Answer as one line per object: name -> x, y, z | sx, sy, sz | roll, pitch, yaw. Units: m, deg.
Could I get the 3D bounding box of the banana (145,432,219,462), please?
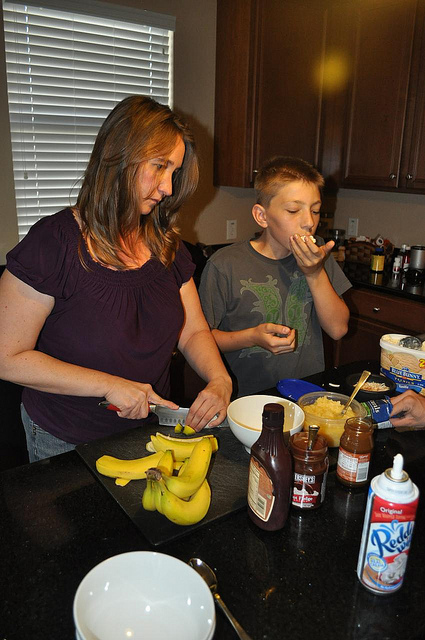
banana -> -0.066, 0.250, 0.988 | 0.130, 0.047, 0.065 | 5, -2, -7

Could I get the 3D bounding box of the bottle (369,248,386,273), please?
bottle -> 1.056, -0.379, 3.048 | 0.089, 0.145, 0.142 | 6, 14, 19

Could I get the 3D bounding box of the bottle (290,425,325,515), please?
bottle -> 0.165, 0.275, 0.816 | 0.055, 0.136, 0.050 | 1, 13, 0

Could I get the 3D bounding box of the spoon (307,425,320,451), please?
spoon -> 0.169, 0.193, 0.806 | 0.015, 0.037, 0.056 | 4, 14, 12

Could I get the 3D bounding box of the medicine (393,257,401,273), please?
medicine -> 1.131, -0.334, 2.920 | 0.036, 0.092, 0.069 | 5, 14, 18

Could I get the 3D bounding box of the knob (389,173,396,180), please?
knob -> 1.070, -0.845, 2.833 | 0.010, 0.032, 0.040 | -11, 18, -41

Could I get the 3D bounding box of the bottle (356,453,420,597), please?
bottle -> 0.230, 0.272, 0.617 | 0.079, 0.202, 0.087 | 1, 11, 0

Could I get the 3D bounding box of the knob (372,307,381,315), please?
knob -> 0.944, -0.049, 2.748 | 0.027, 0.038, 0.034 | -5, 14, -40

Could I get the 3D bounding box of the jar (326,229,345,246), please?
jar -> 0.881, -0.579, 3.425 | 0.122, 0.135, 0.124 | -1, 4, 0

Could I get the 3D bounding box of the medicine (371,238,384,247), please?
medicine -> 1.092, -0.506, 3.153 | 0.063, 0.038, 0.087 | 1, 8, 3

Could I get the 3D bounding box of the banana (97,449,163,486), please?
banana -> -0.165, 0.288, 0.932 | 0.083, 0.036, 0.058 | 9, 11, -21

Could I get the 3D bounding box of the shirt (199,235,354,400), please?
shirt -> 0.229, 0.008, 1.723 | 0.568, 0.563, 0.302 | -6, 15, -26

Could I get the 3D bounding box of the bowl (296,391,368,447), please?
bowl -> 0.261, 0.211, 1.113 | 0.126, 0.056, 0.140 | 8, 11, 21

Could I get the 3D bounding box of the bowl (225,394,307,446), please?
bowl -> 0.100, 0.216, 1.014 | 0.149, 0.076, 0.152 | -14, -3, -1

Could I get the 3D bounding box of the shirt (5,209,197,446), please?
shirt -> -0.243, 0.016, 1.215 | 0.483, 0.569, 0.370 | -3, 14, -19
